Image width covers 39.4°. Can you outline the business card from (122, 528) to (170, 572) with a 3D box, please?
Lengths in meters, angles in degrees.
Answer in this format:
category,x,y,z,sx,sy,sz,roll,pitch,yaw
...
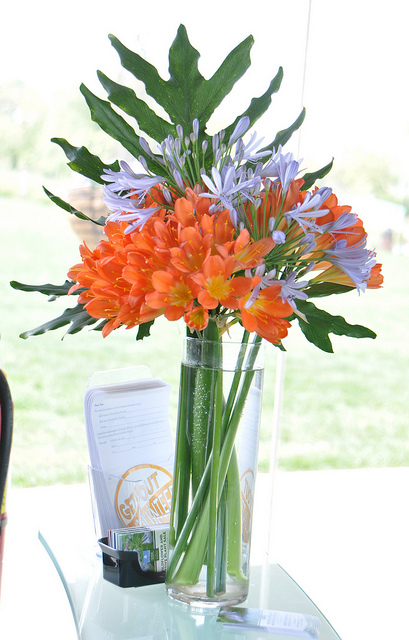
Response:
category,x,y,z,sx,sy,sz,roll,pitch,yaw
business card,-0.058,0.226,0.559,0.052,0.035,0.028,1,-6,-39

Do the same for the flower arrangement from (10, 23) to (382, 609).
category,x,y,z,sx,sy,sz,roll,pitch,yaw
flower arrangement,-0.001,0.005,0.541,0.330,0.450,0.300,1,3,-9
